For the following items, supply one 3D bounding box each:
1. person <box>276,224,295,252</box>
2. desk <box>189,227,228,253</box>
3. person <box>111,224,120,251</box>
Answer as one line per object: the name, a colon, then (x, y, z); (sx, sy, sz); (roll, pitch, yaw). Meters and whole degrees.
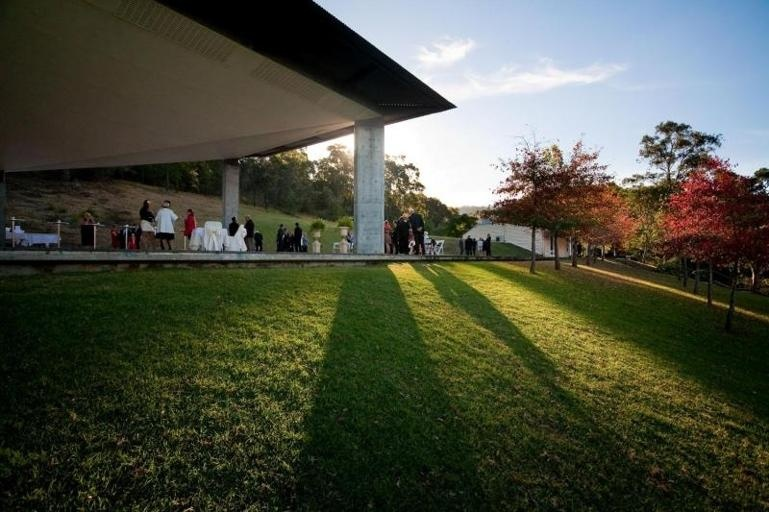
person: (-5.313, -1.042, 27.341); (0.794, 1.409, 1.726); (0, 3, -8)
desk: (-6.799, -0.558, 19.598); (1.111, 0.828, 1.117); (1, 4, -18)
person: (-11.500, -0.866, 21.629); (0.256, 0.899, 1.294); (0, 3, -27)
